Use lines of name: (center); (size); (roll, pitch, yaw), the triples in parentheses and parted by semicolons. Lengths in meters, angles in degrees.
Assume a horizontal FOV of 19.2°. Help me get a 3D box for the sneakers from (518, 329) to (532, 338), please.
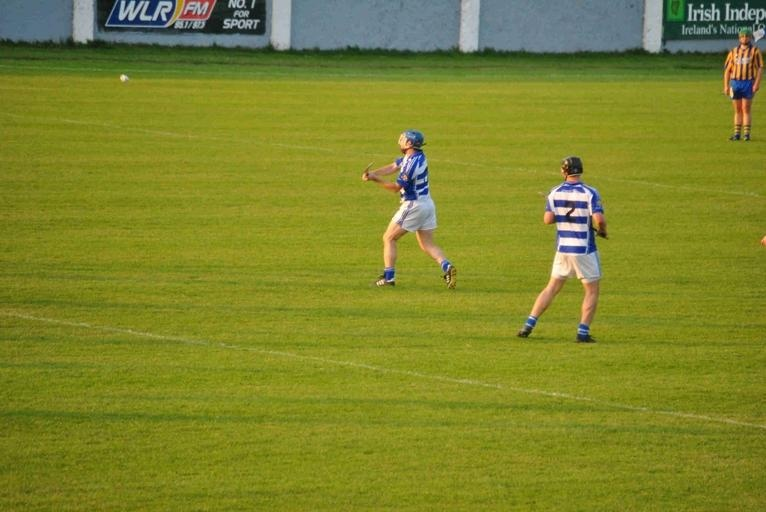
sneakers: (3.252, 1.769, 52.482); (0.147, 0.149, 0.333); (11, -15, -40)

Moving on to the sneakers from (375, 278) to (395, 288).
sneakers: (0.001, 0.633, 54.403); (0.493, 0.191, 0.172); (4, 8, -3)

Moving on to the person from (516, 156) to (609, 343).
person: (4.300, -0.173, 52.506); (1.629, 4.188, 0.890); (4, 6, 3)

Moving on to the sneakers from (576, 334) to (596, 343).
sneakers: (4.686, 1.878, 52.410); (0.479, 0.206, 0.158); (-2, 9, -13)

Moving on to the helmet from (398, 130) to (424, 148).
helmet: (0.647, -2.816, 54.613); (0.550, 0.394, 0.529); (4, 6, 1)

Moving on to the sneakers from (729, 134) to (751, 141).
sneakers: (9.732, -3.230, 61.889); (0.621, 0.259, 0.216); (6, 5, 8)

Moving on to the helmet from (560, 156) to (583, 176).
helmet: (4.342, -2.071, 52.397); (0.404, 0.388, 0.450); (0, 18, -4)

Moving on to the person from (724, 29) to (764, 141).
person: (9.688, -4.510, 61.476); (0.930, 2.859, 1.006); (5, 6, 7)
